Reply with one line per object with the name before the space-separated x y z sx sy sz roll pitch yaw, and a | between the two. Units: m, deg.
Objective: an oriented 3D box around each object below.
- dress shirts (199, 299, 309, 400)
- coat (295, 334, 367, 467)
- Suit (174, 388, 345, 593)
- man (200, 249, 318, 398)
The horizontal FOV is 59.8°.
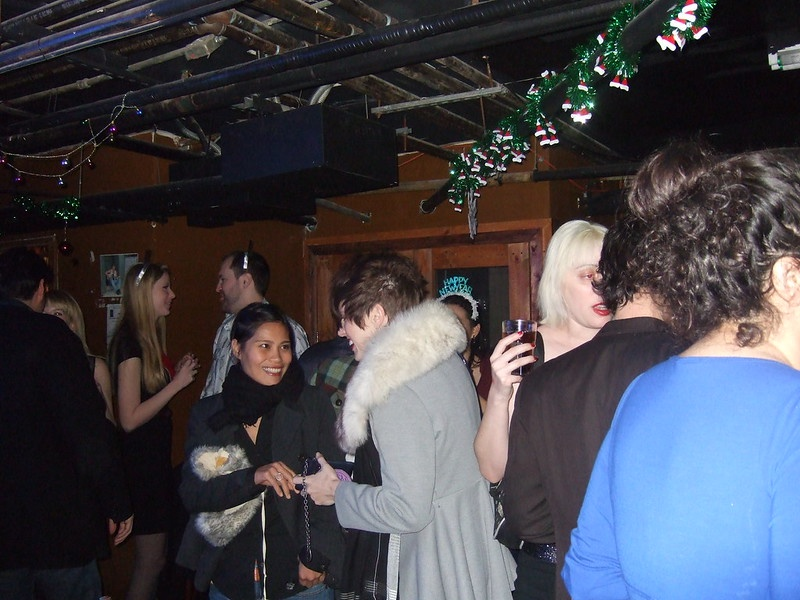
dress shirts | -0.812 0.270 3.708 0.597 0.596 0.346 -9 -32 20
coat | -0.311 0.412 3.522 0.142 0.448 0.423 7 -18 -27
Suit | -0.596 0.843 3.264 0.869 1.064 0.697 0 -20 -2
man | -0.867 0.089 4.757 0.762 1.250 1.225 2 -14 -10
